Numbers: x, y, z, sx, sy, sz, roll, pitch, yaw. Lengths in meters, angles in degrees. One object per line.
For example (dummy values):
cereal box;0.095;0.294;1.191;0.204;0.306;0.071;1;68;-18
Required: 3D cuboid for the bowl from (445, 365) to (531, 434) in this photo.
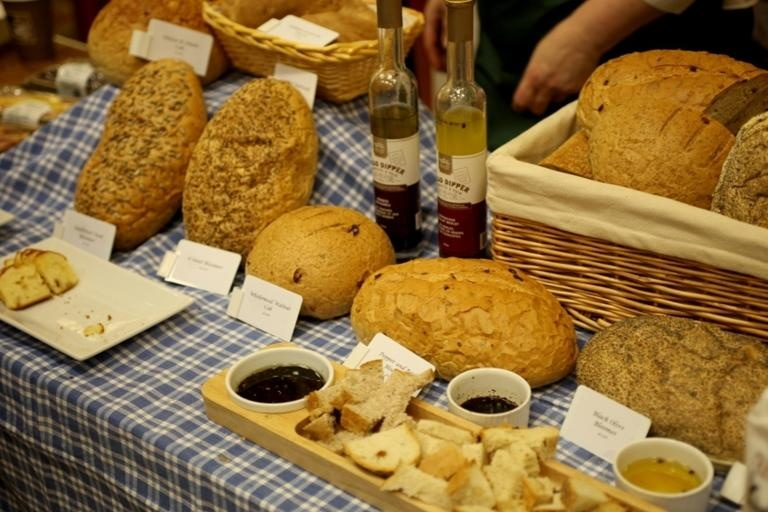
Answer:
bowl;0.173;0.260;0.953;0.114;0.082;0.111;-1;32;1
